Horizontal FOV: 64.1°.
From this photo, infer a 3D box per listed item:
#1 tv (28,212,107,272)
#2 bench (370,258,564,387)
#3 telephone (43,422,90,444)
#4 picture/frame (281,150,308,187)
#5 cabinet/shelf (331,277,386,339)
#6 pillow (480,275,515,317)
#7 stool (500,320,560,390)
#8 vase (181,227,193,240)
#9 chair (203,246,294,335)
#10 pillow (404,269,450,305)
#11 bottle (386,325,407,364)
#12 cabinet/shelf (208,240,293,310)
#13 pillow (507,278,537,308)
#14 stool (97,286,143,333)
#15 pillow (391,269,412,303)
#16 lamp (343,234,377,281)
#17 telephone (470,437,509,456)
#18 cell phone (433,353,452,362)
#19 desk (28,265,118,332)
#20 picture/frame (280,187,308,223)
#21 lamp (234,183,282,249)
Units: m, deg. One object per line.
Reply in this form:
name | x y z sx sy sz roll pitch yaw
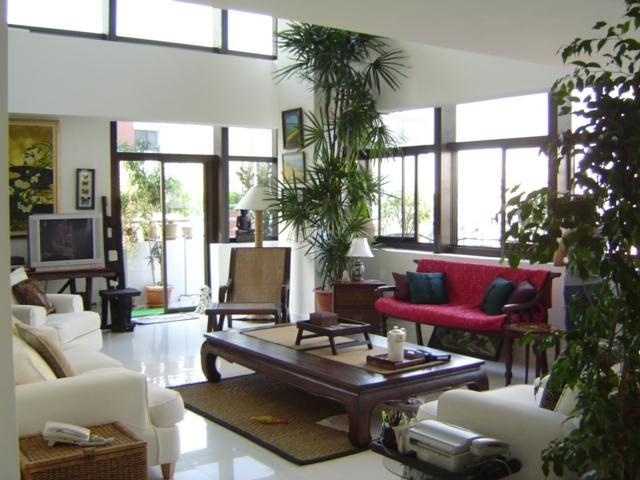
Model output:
tv | -3.613 0.096 7.416 1.255 1.082 0.673 0 -4 -35
bench | 1.569 0.847 5.929 0.825 1.166 2.057 2 0 -32
telephone | -1.375 1.041 2.779 0.196 0.062 0.124 1 -2 -4
picture/frame | -0.418 -1.132 8.046 0.043 0.506 0.565 -8 11 -42
cabinet/shelf | 0.491 0.807 6.830 0.849 0.897 0.584 0 -2 -5
pillow | 1.914 0.641 5.654 0.250 0.410 0.472 7 -3 -8
stool | 1.966 1.136 4.886 0.491 0.569 0.512 15 -11 4
vase | -2.161 -0.125 8.309 0.163 0.182 0.168 -2 4 -40
chair | -0.946 0.571 6.635 0.834 1.101 1.292 0 -3 5
pillow | 1.301 0.580 6.230 0.378 0.347 0.147 1 -35 -4
bottle | 0.615 0.819 4.078 0.176 0.254 0.152 0 1 -5
cabinet/shelf | -0.866 0.491 6.970 0.767 1.170 0.865 0 -3 6
pillow | 2.095 0.545 5.294 0.282 0.222 0.444 3 6 37
stool | -2.849 0.963 7.224 0.570 0.613 0.620 0 -4 5
pillow | 1.016 0.576 6.384 0.110 0.283 0.268 2 0 -37
lamp | 0.489 0.226 6.937 0.486 0.745 0.549 -1 6 -13
telephone | 0.774 0.937 2.363 0.168 0.062 0.091 7 -16 -39
cell phone | 1.002 0.955 4.186 0.077 0.026 0.077 -1 2 -35
desk | -3.609 0.790 7.399 0.680 0.789 1.200 -25 10 -27
picture/frame | -0.301 -0.514 7.070 0.457 0.481 0.195 3 -2 44
lamp | -0.922 -0.332 7.832 0.560 1.103 0.586 -13 29 -33
